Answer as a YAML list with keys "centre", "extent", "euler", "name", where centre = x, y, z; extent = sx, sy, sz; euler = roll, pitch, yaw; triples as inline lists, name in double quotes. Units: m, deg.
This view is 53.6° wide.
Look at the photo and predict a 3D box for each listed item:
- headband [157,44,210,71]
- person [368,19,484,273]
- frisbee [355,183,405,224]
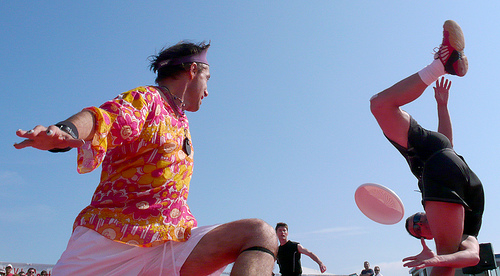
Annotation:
- centre: [-0.692, -0.868, 5.160]
  extent: [0.489, 0.318, 0.123]
  euler: [1, -32, -5]
  name: "headband"
- centre: [2.046, 0.119, 5.481]
  extent: [1.085, 2.548, 1.199]
  euler: [-13, -34, 19]
  name: "person"
- centre: [1.579, 0.805, 6.081]
  extent: [0.536, 0.453, 0.309]
  euler: [-9, -33, 13]
  name: "frisbee"
